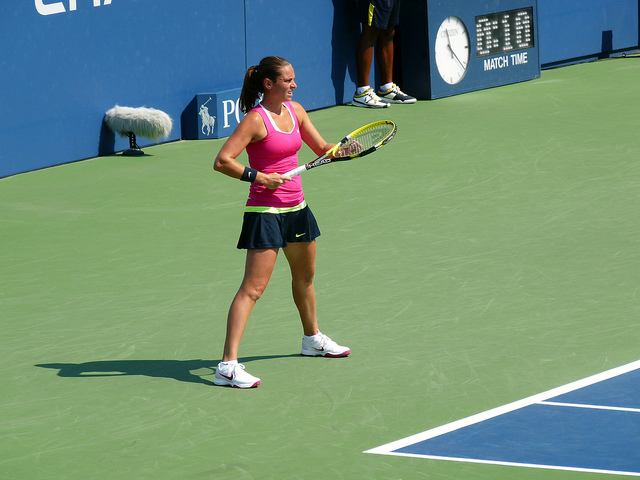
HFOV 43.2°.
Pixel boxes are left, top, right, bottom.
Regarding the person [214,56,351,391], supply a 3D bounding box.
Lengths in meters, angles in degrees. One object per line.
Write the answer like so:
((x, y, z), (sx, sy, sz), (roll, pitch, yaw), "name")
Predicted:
((-0.242, -0.159, 5.551), (0.818, 2.172, 1.207), (5, 10, 37), "person")

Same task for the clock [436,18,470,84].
((2.196, -3.191, 13.339), (0.738, 1.055, 0.119), (-15, 15, -38), "clock")

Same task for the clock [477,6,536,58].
((3.167, -3.682, 13.933), (1.140, 0.579, 0.042), (-12, 8, -42), "clock")

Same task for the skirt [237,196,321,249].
((-0.291, -0.115, 5.428), (0.617, 0.344, 0.354), (-8, 7, -35), "skirt")

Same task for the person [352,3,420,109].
((0.974, -3.060, 13.027), (0.939, 1.748, 1.163), (-1, 13, 24), "person")
